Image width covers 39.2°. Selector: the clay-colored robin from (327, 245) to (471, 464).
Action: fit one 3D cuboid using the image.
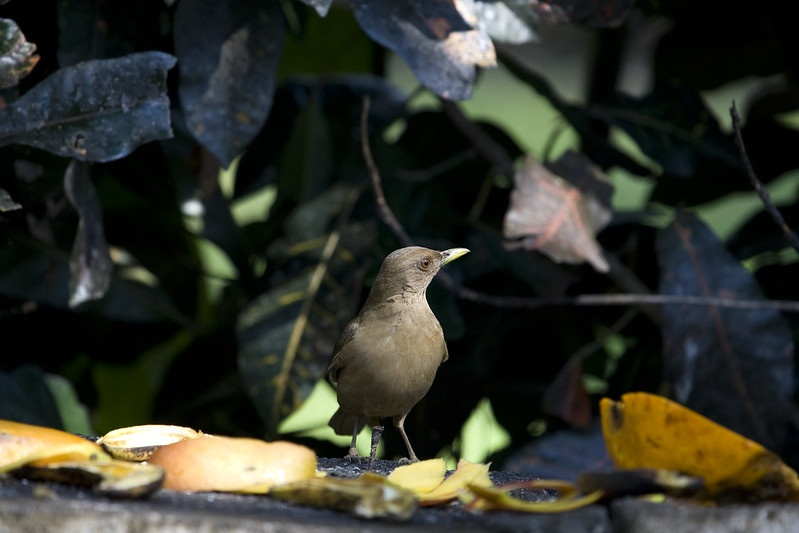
[{"bbox_3d":[0.011,0.164,2.716,0.232,0.367,0.340,24,41,36],"label":"clay-colored robin"}]
